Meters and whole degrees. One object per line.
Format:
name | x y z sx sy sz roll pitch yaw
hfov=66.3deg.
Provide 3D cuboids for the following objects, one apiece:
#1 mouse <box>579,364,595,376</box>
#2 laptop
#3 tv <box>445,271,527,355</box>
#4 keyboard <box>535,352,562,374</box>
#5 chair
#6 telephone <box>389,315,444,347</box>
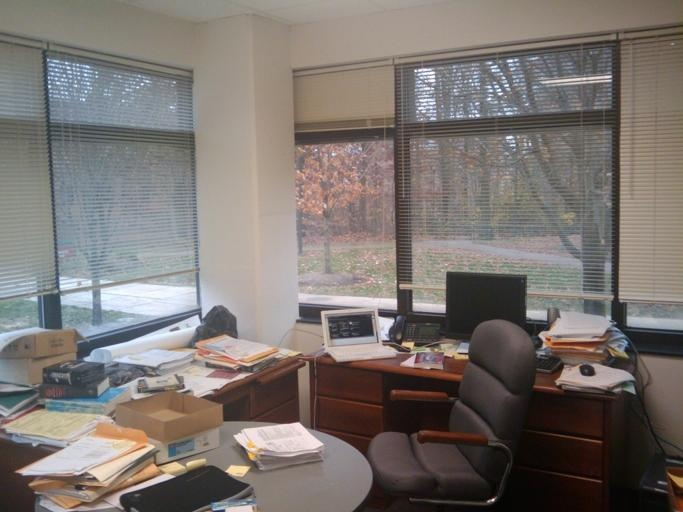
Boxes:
mouse | 1.440 0.662 3.065 0.090 0.052 0.089 0 5 12
laptop | 0.114 0.532 3.574 0.490 0.252 0.458 -4 10 -31
tv | 0.946 0.360 3.402 0.552 0.449 0.041 2 4 25
keyboard | 1.281 0.658 3.235 0.152 0.037 0.213 6 10 23
chair | 0.602 0.832 3.295 1.115 1.239 0.940 4 -1 0
telephone | 0.538 0.531 3.801 0.305 0.108 0.221 -2 14 4
